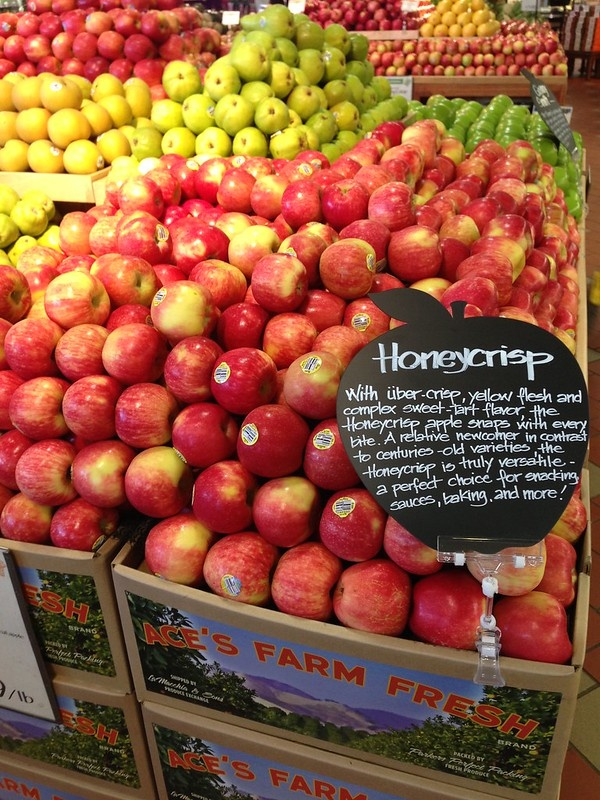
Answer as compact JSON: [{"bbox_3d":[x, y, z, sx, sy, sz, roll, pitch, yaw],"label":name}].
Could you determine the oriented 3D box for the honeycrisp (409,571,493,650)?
[{"bbox_3d":[0.249,0.337,0.996,0.124,0.127,0.112,9,65,-38],"label":"honeycrisp"}]

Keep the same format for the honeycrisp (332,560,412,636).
[{"bbox_3d":[0.119,0.312,0.985,0.110,0.079,0.102,7,41,14],"label":"honeycrisp"}]

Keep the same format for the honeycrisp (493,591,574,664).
[{"bbox_3d":[0.381,0.354,0.957,0.109,0.102,0.108,-22,-2,13],"label":"honeycrisp"}]
